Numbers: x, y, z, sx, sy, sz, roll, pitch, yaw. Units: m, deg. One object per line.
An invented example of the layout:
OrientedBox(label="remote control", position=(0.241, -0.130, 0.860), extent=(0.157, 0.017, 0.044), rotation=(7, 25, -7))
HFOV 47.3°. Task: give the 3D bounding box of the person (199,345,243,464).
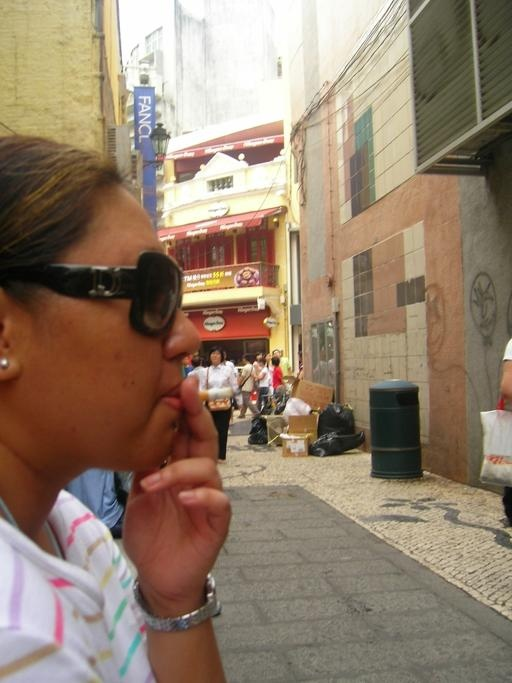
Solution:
OrientedBox(label="person", position=(-0.571, 1.006, 9.227), extent=(0.674, 1.759, 0.563), rotation=(-2, -7, 4))

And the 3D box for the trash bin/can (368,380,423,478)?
OrientedBox(label="trash bin/can", position=(1.762, 1.119, 7.420), extent=(0.616, 1.228, 0.336), rotation=(-2, -4, 10))
